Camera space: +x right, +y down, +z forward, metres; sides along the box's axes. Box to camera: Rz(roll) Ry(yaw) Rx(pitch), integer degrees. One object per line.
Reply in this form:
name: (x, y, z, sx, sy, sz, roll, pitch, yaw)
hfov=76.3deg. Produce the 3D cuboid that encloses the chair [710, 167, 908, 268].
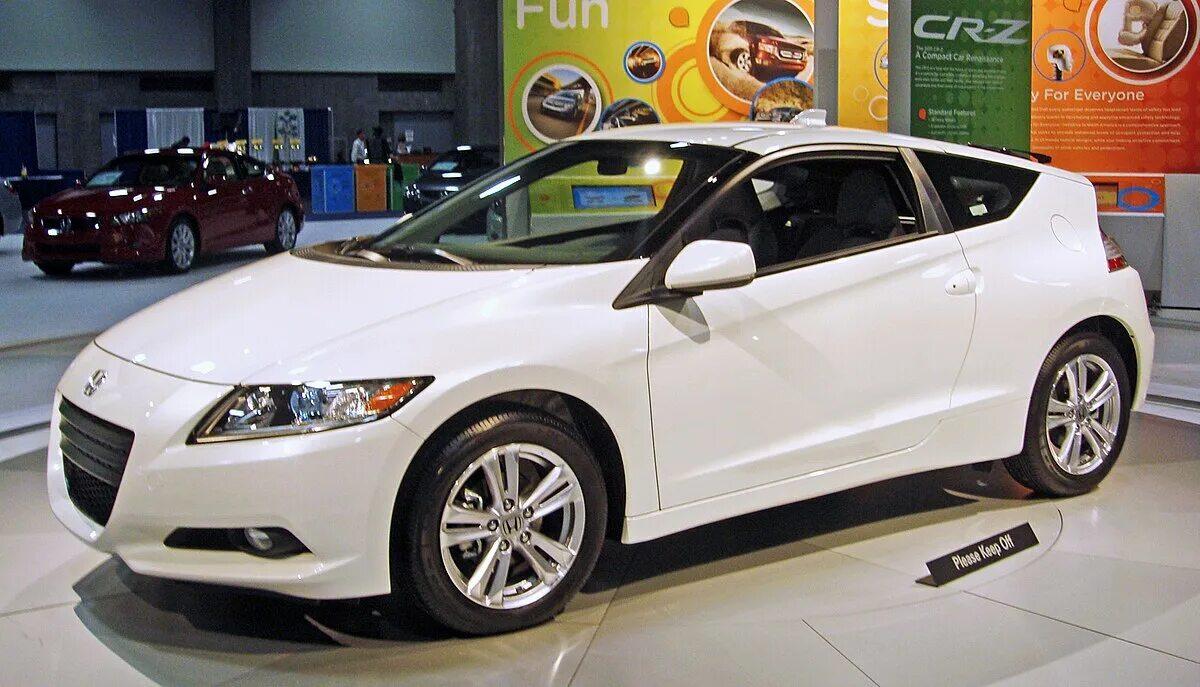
chair: (1.222, -0.764, 4.514, 0.923, 0.354, 0.683, -22, 21, -9)

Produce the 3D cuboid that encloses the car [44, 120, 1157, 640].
car: (0.266, 0.048, 4.310, 5.195, 1.811, 2.863, -4, 9, -27)
